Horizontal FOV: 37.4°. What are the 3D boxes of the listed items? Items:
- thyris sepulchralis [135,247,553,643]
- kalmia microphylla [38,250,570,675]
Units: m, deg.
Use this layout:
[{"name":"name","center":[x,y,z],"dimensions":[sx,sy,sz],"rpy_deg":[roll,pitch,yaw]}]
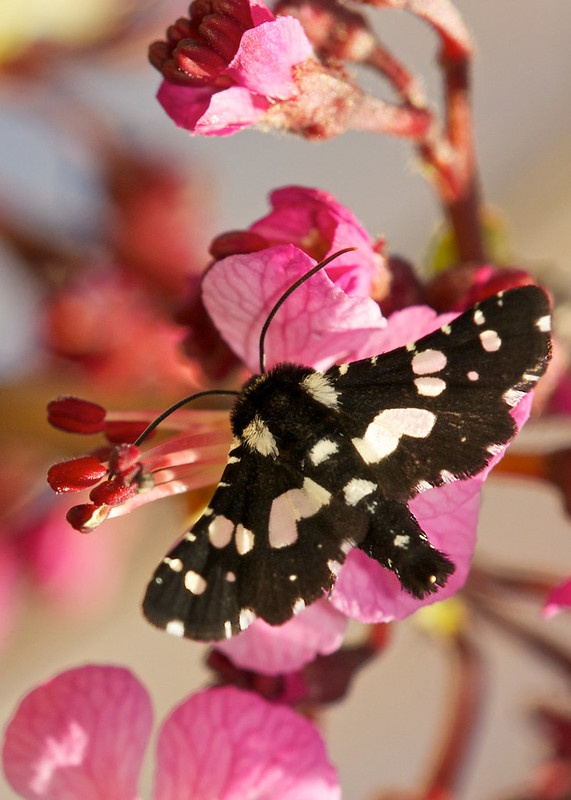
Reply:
[{"name":"thyris sepulchralis","center":[0.044,0.043,0.600],"dimensions":[0.195,0.086,0.309],"rpy_deg":[23,80,7]},{"name":"kalmia microphylla","center":[0.044,0.034,0.617],"dimensions":[0.409,0.114,0.322],"rpy_deg":[-10,61,11]}]
